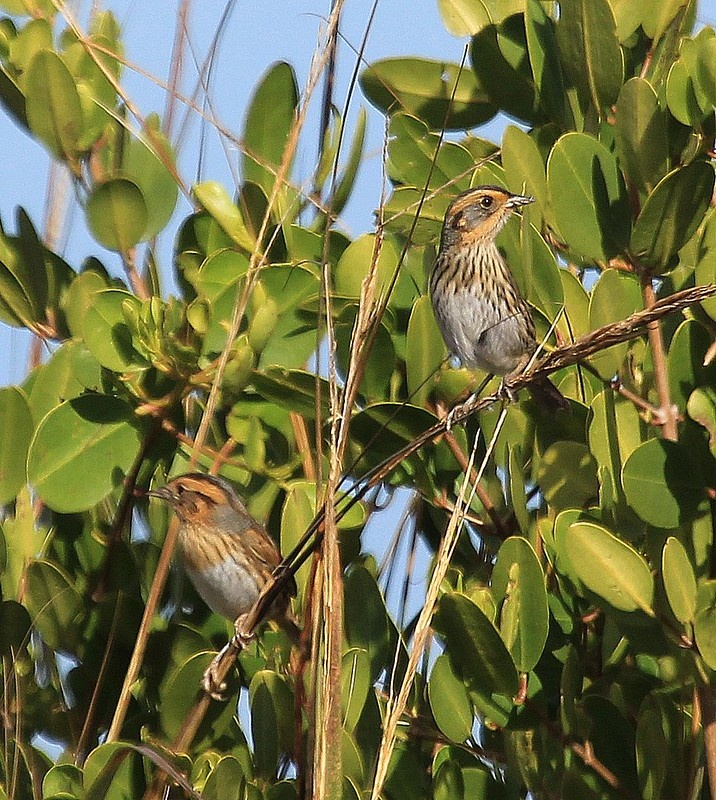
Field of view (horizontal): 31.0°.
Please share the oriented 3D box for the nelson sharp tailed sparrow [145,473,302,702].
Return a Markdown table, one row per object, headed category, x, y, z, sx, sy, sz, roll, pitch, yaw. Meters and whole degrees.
| category | x | y | z | sx | sy | sz | roll | pitch | yaw |
| --- | --- | --- | --- | --- | --- | --- | --- | --- | --- |
| nelson sharp tailed sparrow | -0.535 | 0.608 | 5.050 | 0.436 | 0.624 | 0.995 | 6 | -37 | 2 |
